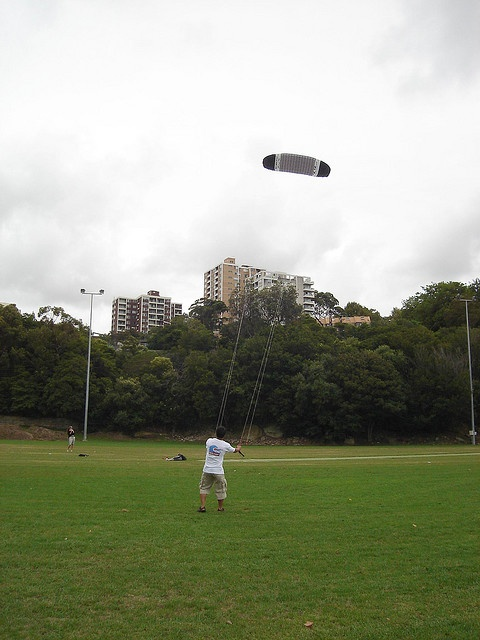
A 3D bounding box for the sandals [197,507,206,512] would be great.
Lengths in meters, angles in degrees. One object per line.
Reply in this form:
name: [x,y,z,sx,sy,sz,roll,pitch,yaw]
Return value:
sandals: [-0.701,3.537,12.382,0.067,0.071,0.171,5,-8,-20]
